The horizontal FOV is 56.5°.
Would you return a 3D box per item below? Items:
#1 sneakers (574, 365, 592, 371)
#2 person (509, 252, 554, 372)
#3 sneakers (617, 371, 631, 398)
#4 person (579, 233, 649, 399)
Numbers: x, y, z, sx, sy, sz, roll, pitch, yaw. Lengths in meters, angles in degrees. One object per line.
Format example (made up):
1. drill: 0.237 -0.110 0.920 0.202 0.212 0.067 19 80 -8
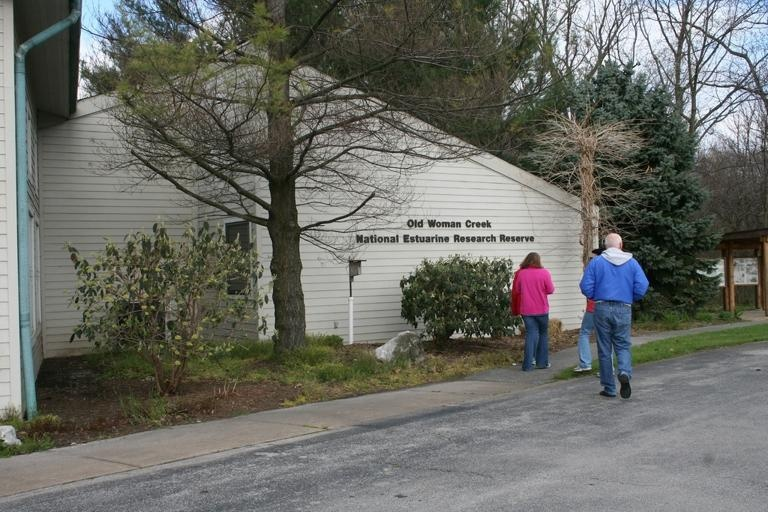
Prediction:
1. sneakers: 3.898 2.216 14.010 0.302 0.137 0.126 -1 -3 22
2. person: 3.137 1.151 15.001 0.837 2.439 0.628 -4 -6 10
3. sneakers: 3.940 2.121 11.728 0.154 0.439 0.168 -7 -5 20
4. person: 3.907 0.996 12.152 1.014 2.756 0.697 -5 -6 16
